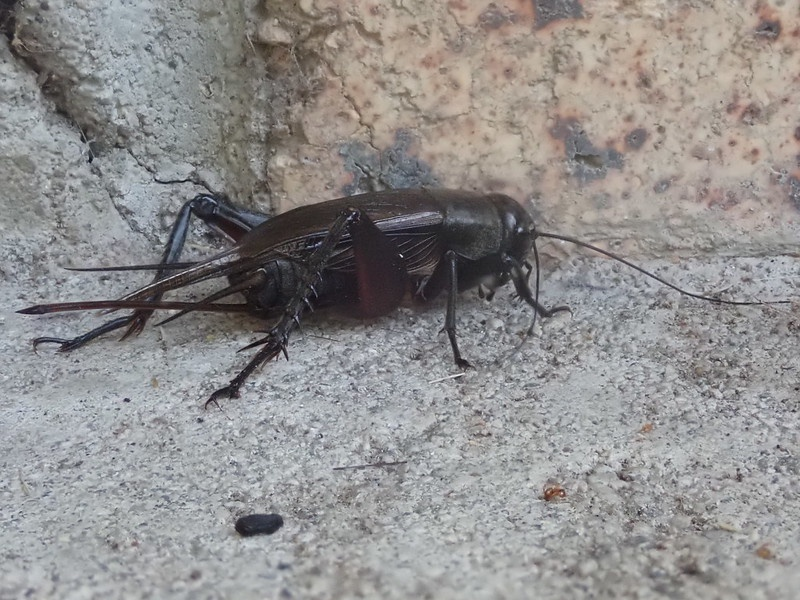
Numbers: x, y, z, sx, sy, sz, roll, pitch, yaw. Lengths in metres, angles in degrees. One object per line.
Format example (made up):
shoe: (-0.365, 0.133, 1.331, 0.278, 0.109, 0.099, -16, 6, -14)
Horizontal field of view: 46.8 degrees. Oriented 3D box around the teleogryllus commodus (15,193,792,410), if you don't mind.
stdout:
teleogryllus commodus: (-0.184, -0.107, 3.282, 1.726, 0.508, 0.933, -8, 37, -7)
